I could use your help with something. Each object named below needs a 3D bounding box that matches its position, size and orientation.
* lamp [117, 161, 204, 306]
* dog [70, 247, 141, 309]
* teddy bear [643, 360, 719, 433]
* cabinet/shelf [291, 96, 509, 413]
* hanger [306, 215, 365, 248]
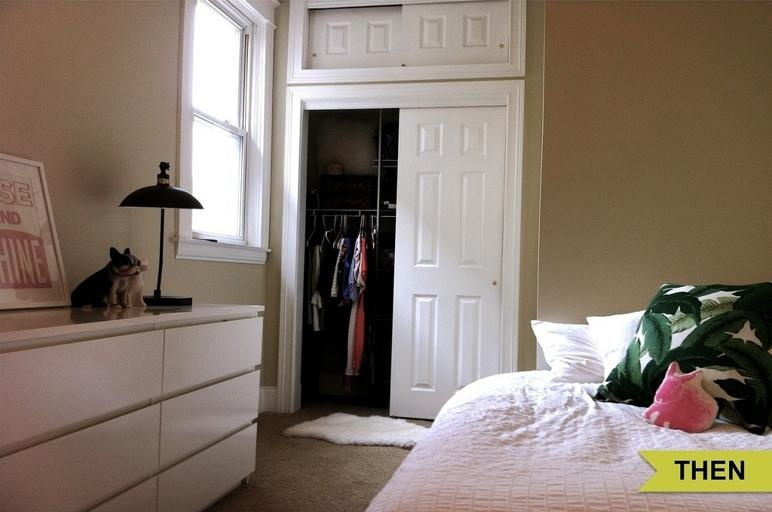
[{"bbox_3d":[-1.176,-0.120,2.904,0.445,0.744,0.443,3,2,23],"label":"lamp"},{"bbox_3d":[-1.333,0.107,2.637,0.386,0.288,0.193,-2,-1,19],"label":"dog"},{"bbox_3d":[1.202,0.569,2.235,0.273,0.269,0.185,-8,0,-5],"label":"teddy bear"},{"bbox_3d":[0.476,0.045,4.266,0.844,2.340,0.493,1,10,8],"label":"cabinet/shelf"},{"bbox_3d":[-0.494,-0.208,4.856,0.439,0.293,0.104,-1,-10,2],"label":"hanger"}]
